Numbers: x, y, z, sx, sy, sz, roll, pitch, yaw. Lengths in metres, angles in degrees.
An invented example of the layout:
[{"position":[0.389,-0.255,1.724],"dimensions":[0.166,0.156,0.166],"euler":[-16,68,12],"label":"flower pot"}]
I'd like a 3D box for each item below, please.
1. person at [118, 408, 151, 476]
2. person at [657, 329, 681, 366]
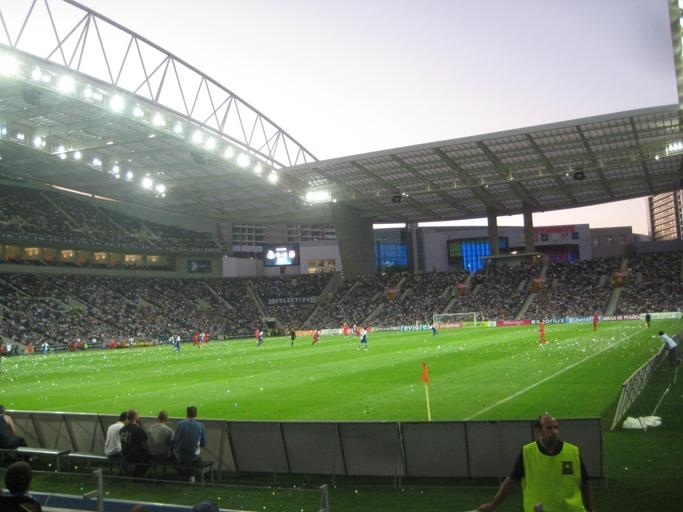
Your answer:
[{"position":[-5.391,4.900,17.029],"dimensions":[0.822,1.735,0.603],"euler":[-4,-3,-3],"label":"person"},{"position":[14.659,4.150,29.209],"dimensions":[0.675,0.448,1.704],"euler":[18,-18,36],"label":"person"}]
